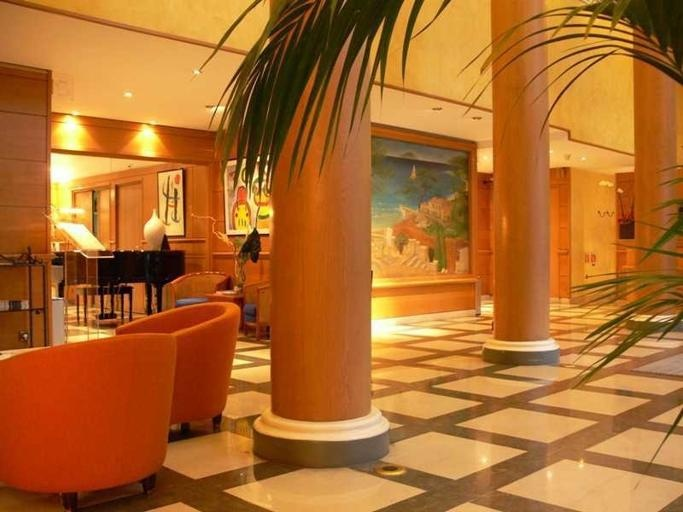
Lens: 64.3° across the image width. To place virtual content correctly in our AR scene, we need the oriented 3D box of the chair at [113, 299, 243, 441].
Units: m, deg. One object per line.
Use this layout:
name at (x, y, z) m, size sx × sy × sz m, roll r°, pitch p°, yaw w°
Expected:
chair at (-1.246, 0.870, 4.318) m, size 0.851 × 0.994 × 0.908 m, roll 4°, pitch -5°, yaw -42°

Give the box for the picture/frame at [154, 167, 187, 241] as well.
picture/frame at (-3.954, -1.234, 12.729) m, size 0.252 × 1.562 × 1.372 m, roll -2°, pitch -1°, yaw -34°

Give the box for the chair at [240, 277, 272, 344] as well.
chair at (-1.309, 0.832, 8.913) m, size 0.516 × 0.859 × 0.608 m, roll 1°, pitch 1°, yaw -44°

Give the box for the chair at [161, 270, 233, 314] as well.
chair at (-2.500, 0.867, 9.755) m, size 1.045 × 1.203 × 1.001 m, roll -1°, pitch -3°, yaw 4°

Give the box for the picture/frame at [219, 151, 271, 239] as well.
picture/frame at (-1.793, -1.090, 10.506) m, size 0.011 × 1.454 × 1.382 m, roll 3°, pitch 7°, yaw 34°

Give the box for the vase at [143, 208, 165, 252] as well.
vase at (-3.635, -0.466, 10.623) m, size 0.350 × 0.722 × 0.366 m, roll -2°, pitch 0°, yaw -17°
